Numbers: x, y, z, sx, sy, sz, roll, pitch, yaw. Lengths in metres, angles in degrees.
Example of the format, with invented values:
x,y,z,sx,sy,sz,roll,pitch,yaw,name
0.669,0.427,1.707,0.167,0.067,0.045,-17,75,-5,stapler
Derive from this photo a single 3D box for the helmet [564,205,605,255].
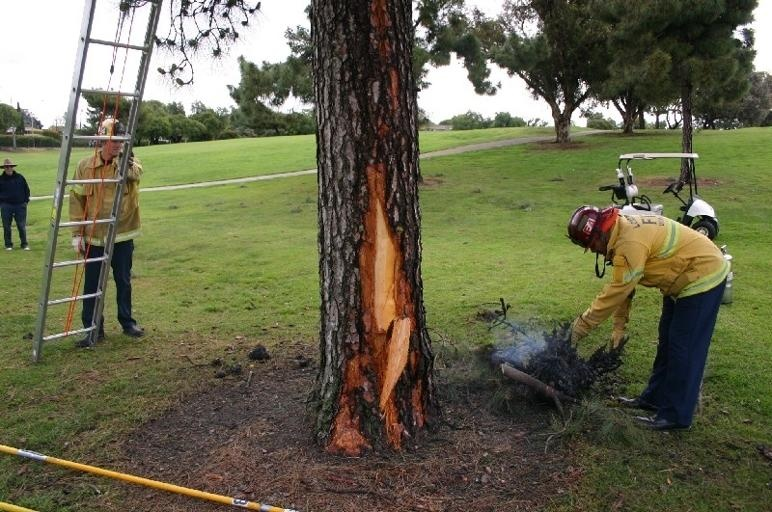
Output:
x,y,z,sx,sy,sz,roll,pitch,yaw,name
2.289,-0.322,7.158,0.472,0.497,0.390,25,6,-1,helmet

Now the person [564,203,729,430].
x,y,z,sx,sy,sz,roll,pitch,yaw,name
2.961,0.640,6.980,1.450,2.389,0.848,3,11,31,person

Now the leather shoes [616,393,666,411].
x,y,z,sx,sy,sz,roll,pitch,yaw,name
2.893,1.638,7.138,0.444,0.200,0.158,10,1,26,leather shoes
